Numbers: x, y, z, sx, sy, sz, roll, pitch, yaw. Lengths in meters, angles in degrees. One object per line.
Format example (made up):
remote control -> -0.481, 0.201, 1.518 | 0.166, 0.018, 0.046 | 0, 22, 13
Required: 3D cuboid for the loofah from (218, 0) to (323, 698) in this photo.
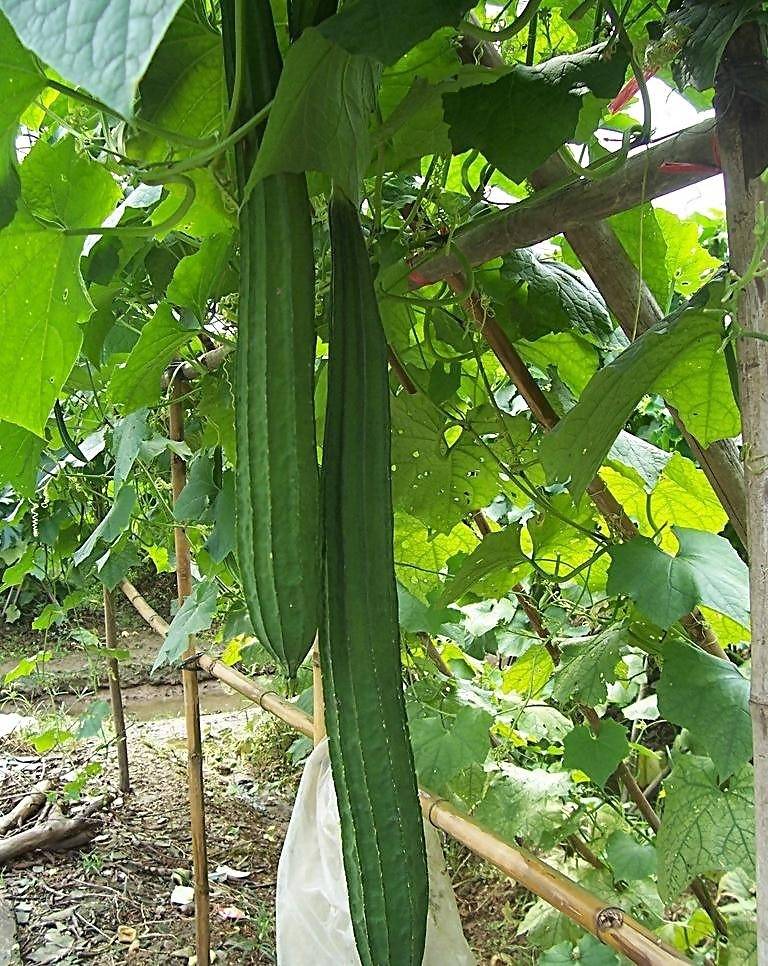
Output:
loofah -> -0.075, -0.105, 0.635 | 0.068, 0.440, 0.118 | 1, 6, -9
